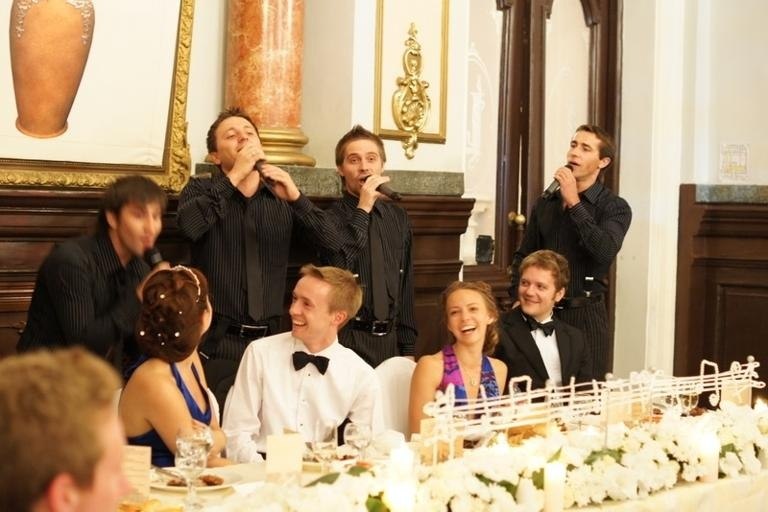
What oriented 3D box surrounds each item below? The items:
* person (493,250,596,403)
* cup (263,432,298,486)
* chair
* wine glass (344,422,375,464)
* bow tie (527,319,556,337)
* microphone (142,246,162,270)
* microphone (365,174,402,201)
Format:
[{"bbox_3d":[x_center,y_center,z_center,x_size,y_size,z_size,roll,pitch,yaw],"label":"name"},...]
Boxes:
[{"bbox_3d":[0.925,0.405,3.851,0.630,0.945,0.498,3,-15,-11],"label":"person"},{"bbox_3d":[-0.332,0.668,2.304,0.116,0.155,0.141,-1,1,-4],"label":"cup"},{"bbox_3d":[0.056,0.641,3.273,0.273,0.490,0.293,2,-10,-7],"label":"chair"},{"bbox_3d":[-0.095,0.712,2.590,0.099,0.178,0.118,0,-3,-2],"label":"wine glass"},{"bbox_3d":[0.883,0.397,3.881,0.157,0.104,0.050,-1,1,-16],"label":"bow tie"},{"bbox_3d":[-1.068,0.013,3.163,0.055,0.061,0.091,-24,-34,30],"label":"microphone"},{"bbox_3d":[0.025,-0.361,3.884,0.109,0.107,0.226,-1,0,-14],"label":"microphone"}]
